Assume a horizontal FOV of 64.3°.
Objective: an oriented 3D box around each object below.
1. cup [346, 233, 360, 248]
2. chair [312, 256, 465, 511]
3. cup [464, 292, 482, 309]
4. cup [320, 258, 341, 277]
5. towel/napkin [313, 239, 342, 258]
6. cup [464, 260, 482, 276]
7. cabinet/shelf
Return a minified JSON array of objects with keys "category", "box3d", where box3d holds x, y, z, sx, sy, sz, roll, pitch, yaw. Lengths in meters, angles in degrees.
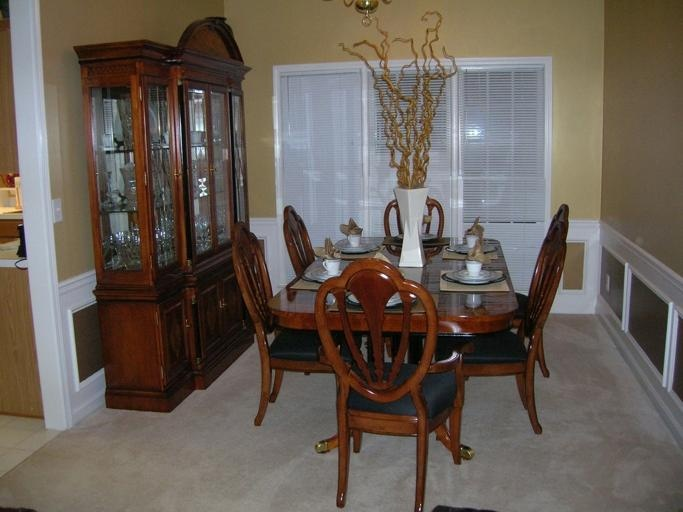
[{"category":"cup","box3d":[0.070,-0.114,4.184,0.094,0.101,0.086,-1,16,0]},{"category":"chair","box3d":[0.244,0.575,2.840,0.718,1.313,0.670,1,14,11]},{"category":"cup","box3d":[0.686,0.248,2.959,0.072,0.077,0.076,-2,21,1]},{"category":"cup","box3d":[-0.080,0.070,3.401,0.107,0.097,0.102,-2,11,0]},{"category":"towel/napkin","box3d":[-0.113,-0.013,3.527,0.162,0.073,0.172,1,37,-11]},{"category":"cup","box3d":[0.763,0.075,3.290,0.085,0.097,0.091,1,3,0]},{"category":"cabinet/shelf","box3d":[-1.227,-0.249,4.000,0.564,2.408,1.265,3,15,16]}]
